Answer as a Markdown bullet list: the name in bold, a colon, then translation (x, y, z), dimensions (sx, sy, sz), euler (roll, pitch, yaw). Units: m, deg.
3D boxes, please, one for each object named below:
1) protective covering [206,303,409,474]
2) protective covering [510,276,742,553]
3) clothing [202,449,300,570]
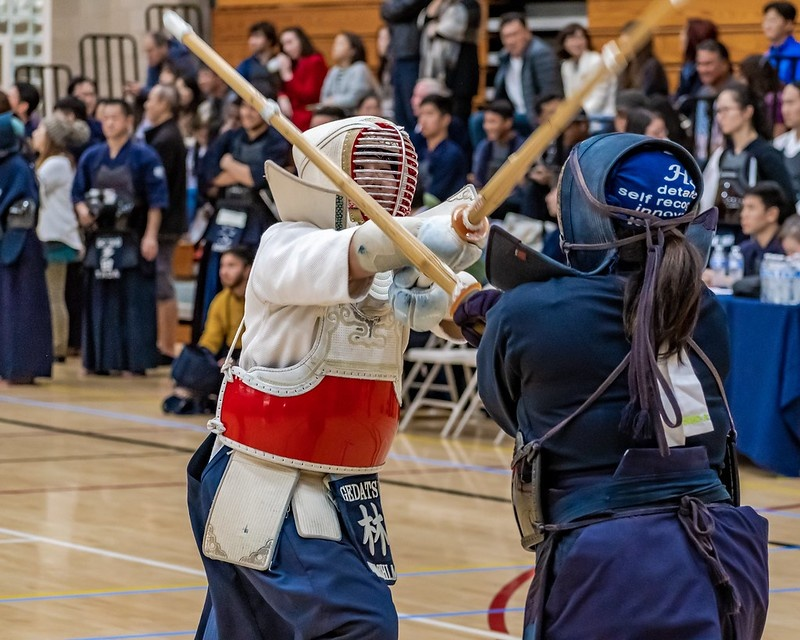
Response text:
- **protective covering**: translation (-0.171, 0.207, 4.324), dimensions (0.473, 0.466, 0.461), euler (21, -3, 9)
- **protective covering**: translation (0.700, 0.308, 3.856), dimensions (0.474, 0.406, 0.354), euler (22, 51, 10)
- **clothing**: translation (-0.365, 0.503, 4.285), dimensions (0.229, 0.298, 0.301), euler (16, -7, 10)
